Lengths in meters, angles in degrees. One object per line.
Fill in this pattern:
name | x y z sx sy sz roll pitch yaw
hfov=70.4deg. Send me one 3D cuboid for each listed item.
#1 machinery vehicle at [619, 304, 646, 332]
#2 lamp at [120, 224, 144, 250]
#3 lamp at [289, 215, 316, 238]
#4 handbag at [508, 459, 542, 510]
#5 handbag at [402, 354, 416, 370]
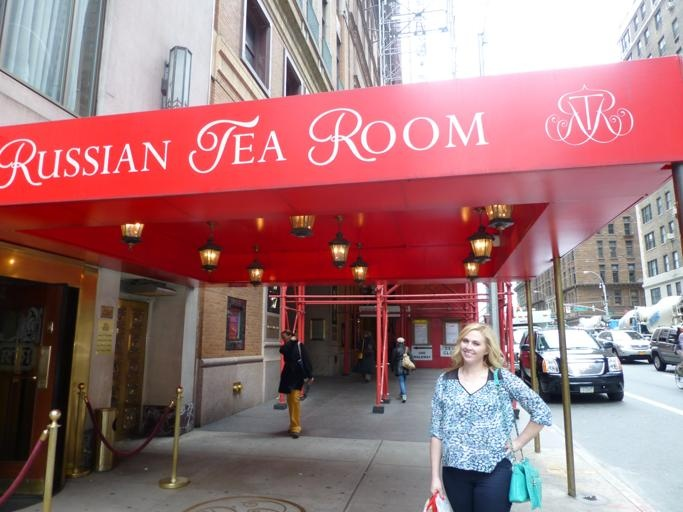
machinery vehicle | 21.390 4.733 34.999 1.173 1.638 5.784 -6 -11 25
lamp | -2.787 -0.245 6.342 0.300 0.314 0.299 3 -10 -26
lamp | -0.455 -0.354 5.615 0.255 0.223 0.452 0 -10 -6
handbag | 1.421 1.747 3.701 0.210 0.363 0.332 -7 -12 32
handbag | 2.010 3.194 14.439 0.339 0.453 0.668 -2 -10 6
